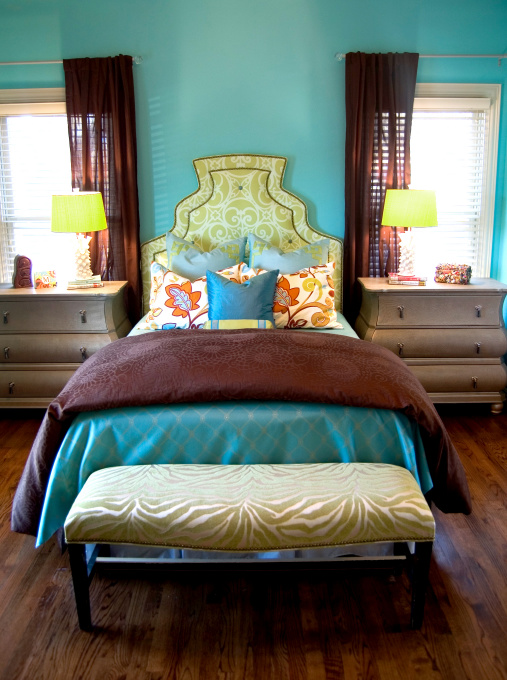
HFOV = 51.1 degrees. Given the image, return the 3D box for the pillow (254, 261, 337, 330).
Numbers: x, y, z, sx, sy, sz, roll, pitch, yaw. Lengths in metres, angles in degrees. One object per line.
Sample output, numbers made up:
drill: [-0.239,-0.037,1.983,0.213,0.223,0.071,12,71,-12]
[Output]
pillow: [0.236,-0.243,2.999,0.381,0.359,0.114,-9,-9,2]

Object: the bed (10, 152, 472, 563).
bed: [-0.049,0.214,1.870,0.891,0.766,1.251,0,10,0]

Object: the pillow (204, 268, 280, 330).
pillow: [-0.058,-0.210,2.843,0.355,0.312,0.134,0,-6,2]

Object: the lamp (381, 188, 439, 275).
lamp: [0.990,-0.680,3.345,0.301,0.451,0.309,-6,8,-41]
